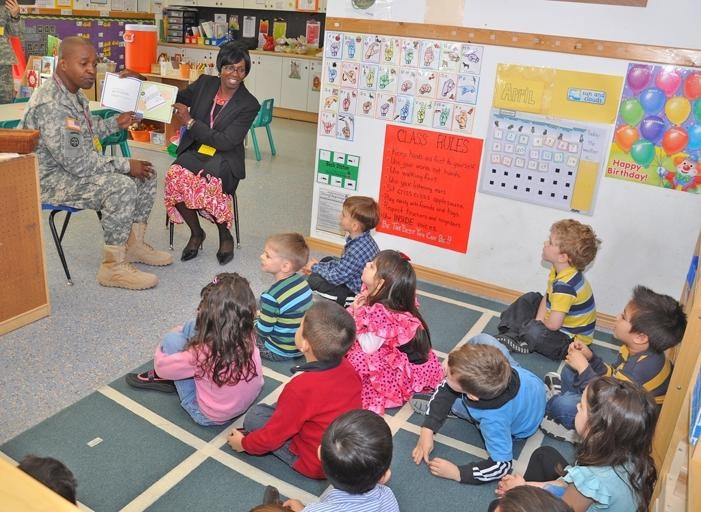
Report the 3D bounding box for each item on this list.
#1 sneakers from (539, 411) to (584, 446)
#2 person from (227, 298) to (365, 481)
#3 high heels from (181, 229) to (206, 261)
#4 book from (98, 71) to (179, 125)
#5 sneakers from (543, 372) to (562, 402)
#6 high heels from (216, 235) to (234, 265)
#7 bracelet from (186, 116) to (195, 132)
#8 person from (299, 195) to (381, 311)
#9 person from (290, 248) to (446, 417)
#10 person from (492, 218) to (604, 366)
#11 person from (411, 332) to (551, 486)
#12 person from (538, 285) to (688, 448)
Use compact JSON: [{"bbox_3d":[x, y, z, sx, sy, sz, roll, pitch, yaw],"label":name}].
[{"bbox_3d":[1.077,0.875,2.464,0.185,0.071,0.119,11,2,-19],"label":"sneakers"},{"bbox_3d":[-0.192,0.557,2.194,0.498,0.738,0.647,9,17,25],"label":"person"},{"bbox_3d":[-1.273,-0.093,3.994,0.108,0.149,0.315,11,28,11],"label":"high heels"},{"bbox_3d":[-1.701,-1.164,3.905,0.721,0.373,0.145,13,-3,-23],"label":"book"},{"bbox_3d":[1.147,0.710,2.752,0.075,0.087,0.216,4,48,10],"label":"sneakers"},{"bbox_3d":[-1.006,-0.034,3.926,0.097,0.073,0.274,-1,52,4],"label":"high heels"},{"bbox_3d":[-1.284,-1.047,3.869,0.033,0.092,0.089,20,52,-28],"label":"bracelet"},{"bbox_3d":[-0.072,-0.031,3.418,0.542,0.744,0.523,16,28,33],"label":"person"},{"bbox_3d":[0.181,0.384,2.859,0.754,0.964,1.012,7,19,13],"label":"person"},{"bbox_3d":[1.234,0.091,3.446,0.873,1.075,0.799,4,23,21],"label":"person"},{"bbox_3d":[0.591,0.644,2.255,0.608,0.706,0.671,0,47,15],"label":"person"},{"bbox_3d":[1.239,0.529,2.317,0.546,0.738,0.362,20,37,25],"label":"person"}]
